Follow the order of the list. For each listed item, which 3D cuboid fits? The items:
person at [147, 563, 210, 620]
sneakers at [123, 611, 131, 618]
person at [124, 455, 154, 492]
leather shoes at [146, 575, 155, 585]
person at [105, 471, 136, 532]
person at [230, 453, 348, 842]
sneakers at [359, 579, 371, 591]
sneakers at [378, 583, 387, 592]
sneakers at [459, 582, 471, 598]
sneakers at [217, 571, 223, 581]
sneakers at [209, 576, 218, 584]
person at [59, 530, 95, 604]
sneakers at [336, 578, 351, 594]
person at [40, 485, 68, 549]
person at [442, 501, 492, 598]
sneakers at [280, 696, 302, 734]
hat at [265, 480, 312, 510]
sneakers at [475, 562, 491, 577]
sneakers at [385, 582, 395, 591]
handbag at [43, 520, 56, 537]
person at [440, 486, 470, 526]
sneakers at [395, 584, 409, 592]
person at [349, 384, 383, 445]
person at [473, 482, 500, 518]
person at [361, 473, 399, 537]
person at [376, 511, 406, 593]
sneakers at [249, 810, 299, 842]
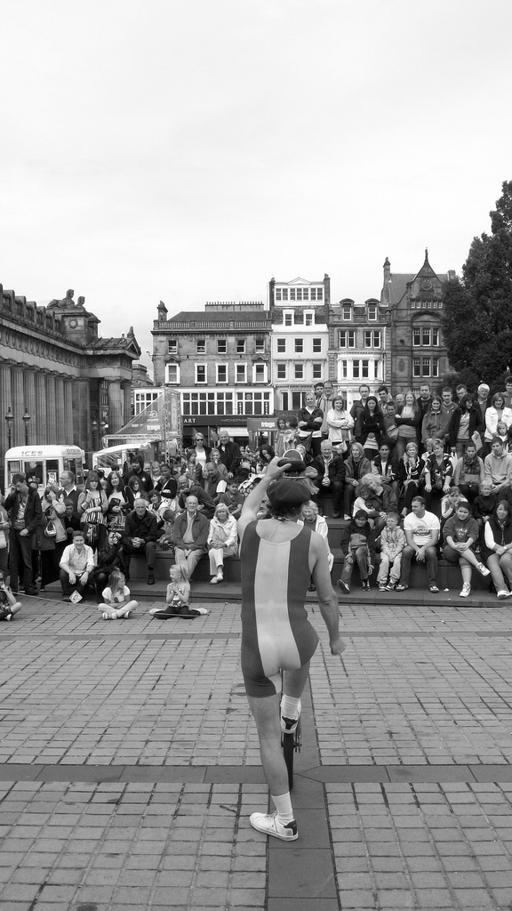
[{"bbox_3d":[-1.017,1.709,12.533,0.756,0.665,0.621,-1,0,0],"label":"person"},{"bbox_3d":[-1.659,2.005,12.421,0.061,0.085,0.207,-1,0,-2],"label":"sneakers"},{"bbox_3d":[-2.230,0.333,18.346,0.482,1.096,0.344,-5,6,-7],"label":"person"},{"bbox_3d":[-1.594,1.857,14.696,0.114,0.135,0.325,0,-2,-6],"label":"leather shoes"},{"bbox_3d":[-2.263,0.872,15.828,0.471,1.451,0.442,4,37,1],"label":"person"},{"bbox_3d":[0.141,1.001,5.294,0.496,2.003,0.618,-1,0,29],"label":"person"},{"bbox_3d":[1.573,1.833,13.964,0.110,0.143,0.337,-1,-7,6],"label":"sneakers"},{"bbox_3d":[1.801,1.843,13.806,0.070,0.095,0.229,0,-11,3],"label":"sneakers"},{"bbox_3d":[2.907,1.853,13.448,0.098,0.137,0.306,-4,-8,17],"label":"sneakers"},{"bbox_3d":[-0.539,1.773,14.523,0.081,0.185,0.217,-1,0,-2],"label":"sneakers"},{"bbox_3d":[-0.629,1.834,14.502,0.100,0.092,0.217,-1,-5,-3],"label":"sneakers"},{"bbox_3d":[-2.514,1.550,13.937,0.525,0.999,0.534,0,0,-40],"label":"person"},{"bbox_3d":[1.242,1.839,13.730,0.098,0.243,0.094,6,36,47],"label":"sneakers"},{"bbox_3d":[-3.177,0.874,15.099,0.372,0.868,0.330,-2,18,-13],"label":"person"},{"bbox_3d":[2.958,1.238,13.665,0.468,1.165,1.121,2,13,-10],"label":"person"},{"bbox_3d":[0.198,1.535,5.686,0.089,0.293,0.116,1,41,5],"label":"sneakers"},{"bbox_3d":[0.168,0.201,5.252,0.203,0.146,0.291,1,-5,-1],"label":"hat"},{"bbox_3d":[3.164,1.604,13.496,0.083,0.244,0.156,-20,31,31],"label":"sneakers"},{"bbox_3d":[1.905,1.828,13.739,0.145,0.121,0.108,-1,0,3],"label":"sneakers"},{"bbox_3d":[-3.153,1.118,14.924,0.084,0.267,0.275,-1,0,17],"label":"handbag"},{"bbox_3d":[2.937,0.720,14.250,0.370,0.812,0.444,5,-11,25],"label":"person"},{"bbox_3d":[2.074,1.851,13.791,0.067,0.091,0.202,-3,-15,18],"label":"sneakers"},{"bbox_3d":[1.990,-0.724,17.105,0.564,1.032,0.678,-1,0,5],"label":"person"},{"bbox_3d":[3.459,0.635,14.599,0.429,0.744,0.446,1,5,9],"label":"person"},{"bbox_3d":[1.850,0.807,14.856,0.452,1.020,0.779,6,32,29],"label":"person"},{"bbox_3d":[1.911,1.348,13.875,0.405,1.077,0.420,-1,0,20],"label":"person"},{"bbox_3d":[0.095,1.948,5.187,0.106,0.118,0.271,10,-5,-39],"label":"sneakers"}]
